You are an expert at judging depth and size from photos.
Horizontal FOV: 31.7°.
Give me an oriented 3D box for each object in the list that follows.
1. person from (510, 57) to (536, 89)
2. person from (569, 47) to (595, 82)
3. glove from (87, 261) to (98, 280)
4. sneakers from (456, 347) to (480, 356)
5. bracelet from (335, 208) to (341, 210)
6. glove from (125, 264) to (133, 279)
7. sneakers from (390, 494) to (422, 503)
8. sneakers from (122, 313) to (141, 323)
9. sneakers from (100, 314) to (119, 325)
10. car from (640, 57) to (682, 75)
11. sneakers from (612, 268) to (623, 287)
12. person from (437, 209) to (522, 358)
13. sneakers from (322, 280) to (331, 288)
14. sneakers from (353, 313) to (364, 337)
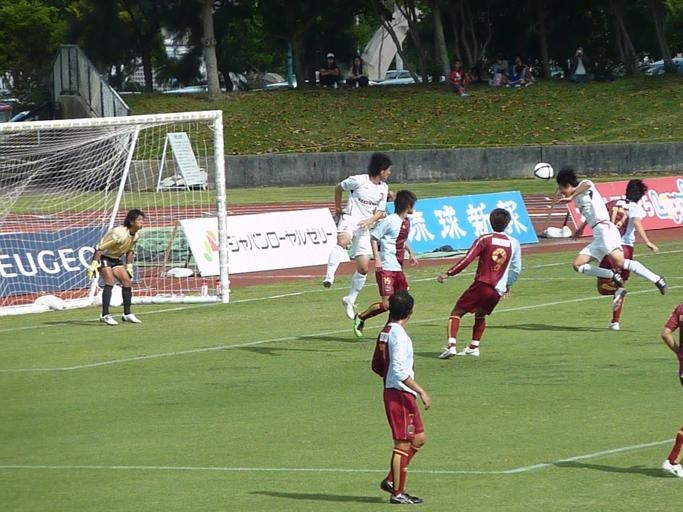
[{"bbox_3d":[7.998,-8.127,53.277,0.927,1.204,1.838,0,13,8],"label":"person"},{"bbox_3d":[10.789,-8.629,54.245,1.280,1.393,1.063,0,18,12],"label":"person"},{"bbox_3d":[-4.414,0.247,21.773,0.134,0.313,0.241,13,-28,-6],"label":"glove"},{"bbox_3d":[2.071,1.519,19.322,0.419,0.149,0.126,1,0,11],"label":"sneakers"},{"bbox_3d":[-0.025,-0.854,21.759,0.057,0.036,0.058,-1,1,39],"label":"bracelet"},{"bbox_3d":[-3.811,0.257,22.141,0.130,0.304,0.140,3,0,-27],"label":"glove"},{"bbox_3d":[0.804,2.958,14.857,0.422,0.132,0.124,-1,4,3],"label":"sneakers"},{"bbox_3d":[-3.857,1.121,22.171,0.411,0.155,0.144,6,12,3],"label":"sneakers"},{"bbox_3d":[-4.193,1.152,22.093,0.375,0.141,0.156,5,9,39],"label":"sneakers"},{"bbox_3d":[15.068,-8.955,57.205,2.691,0.575,1.425,-2,3,-19],"label":"car"},{"bbox_3d":[4.758,0.348,20.714,0.128,0.320,0.152,-33,-37,18],"label":"sneakers"},{"bbox_3d":[2.195,0.444,18.958,1.307,2.399,0.606,-2,14,0],"label":"person"},{"bbox_3d":[-0.215,0.455,20.133,0.117,0.077,0.178,27,-4,-3],"label":"sneakers"},{"bbox_3d":[0.308,1.138,20.128,0.219,0.389,0.150,3,1,20],"label":"sneakers"}]
